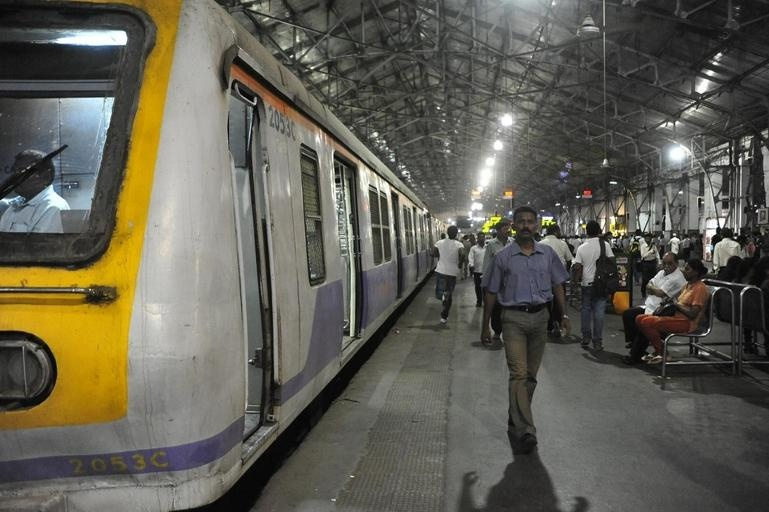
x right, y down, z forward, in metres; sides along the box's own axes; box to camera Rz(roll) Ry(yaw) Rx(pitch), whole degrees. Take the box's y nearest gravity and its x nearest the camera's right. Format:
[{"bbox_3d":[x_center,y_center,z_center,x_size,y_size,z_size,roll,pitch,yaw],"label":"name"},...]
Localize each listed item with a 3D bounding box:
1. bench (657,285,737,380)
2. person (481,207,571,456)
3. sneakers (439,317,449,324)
[{"bbox_3d":[4.521,1.032,8.690,0.956,1.216,1.758,-3,3,16],"label":"bench"},{"bbox_3d":[1.446,0.666,5.704,0.738,2.332,0.755,-3,4,-28],"label":"person"},{"bbox_3d":[1.257,1.391,12.155,0.085,0.143,0.250,3,-10,11],"label":"sneakers"}]
